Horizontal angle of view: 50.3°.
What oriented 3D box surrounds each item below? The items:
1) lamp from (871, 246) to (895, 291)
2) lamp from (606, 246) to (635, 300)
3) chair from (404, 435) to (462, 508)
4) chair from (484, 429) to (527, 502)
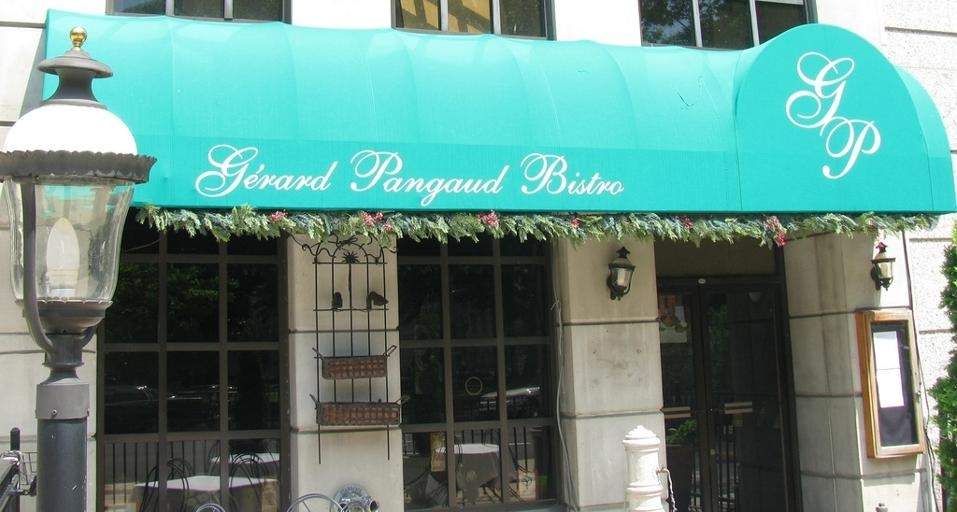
[{"bbox_3d":[5.624,0.131,14.182,0.342,0.661,0.300,-6,-5,25],"label":"lamp"},{"bbox_3d":[1.916,0.221,13.918,0.389,0.712,0.356,-5,-15,7],"label":"lamp"},{"bbox_3d":[-0.738,2.875,13.729,0.557,0.961,0.247,1,-15,-14],"label":"chair"},{"bbox_3d":[0.354,2.995,14.374,0.749,0.940,0.714,4,-9,-19],"label":"chair"}]
